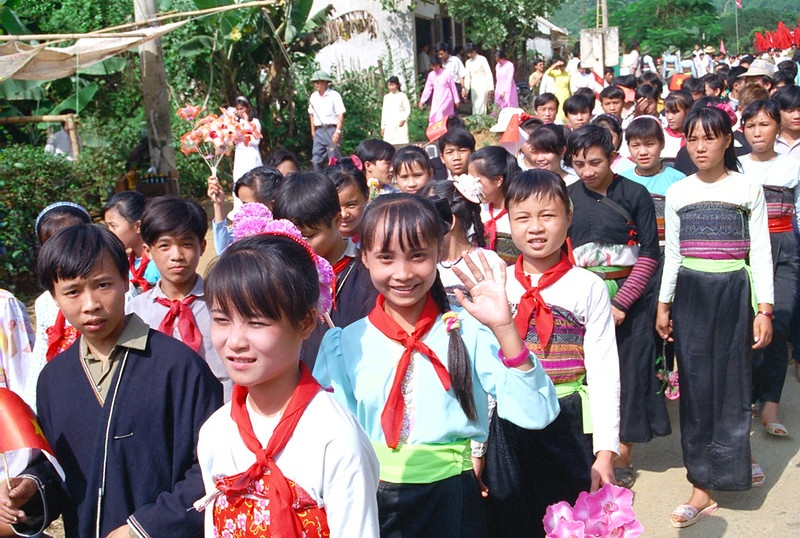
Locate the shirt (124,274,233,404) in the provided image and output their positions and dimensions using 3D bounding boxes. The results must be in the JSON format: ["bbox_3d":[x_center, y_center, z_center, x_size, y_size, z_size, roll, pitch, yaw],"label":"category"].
[{"bbox_3d":[-1.181,0.401,3.882,0.651,0.746,0.388,-11,-4,-6],"label":"shirt"}]

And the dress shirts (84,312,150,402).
[{"bbox_3d":[-1.450,0.469,3.685,0.401,0.439,0.241,-7,-8,9],"label":"dress shirts"}]

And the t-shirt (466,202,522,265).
[{"bbox_3d":[0.798,-0.265,5.760,0.357,0.306,0.453,1,3,5],"label":"t-shirt"}]

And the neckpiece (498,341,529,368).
[{"bbox_3d":[0.523,0.412,3.419,0.189,0.115,0.104,0,7,40],"label":"neckpiece"}]

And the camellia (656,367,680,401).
[{"bbox_3d":[2.045,0.879,5.458,0.119,0.231,0.242,0,-12,-15],"label":"camellia"}]

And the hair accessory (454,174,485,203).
[{"bbox_3d":[0.512,-0.612,5.307,0.219,0.104,0.233,35,26,-26],"label":"hair accessory"}]

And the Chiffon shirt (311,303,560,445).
[{"bbox_3d":[0.158,0.543,3.535,0.853,0.458,0.251,-3,3,13],"label":"Chiffon shirt"}]

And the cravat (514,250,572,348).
[{"bbox_3d":[0.847,0.185,4.432,0.321,0.619,0.341,2,-6,-33],"label":"cravat"}]

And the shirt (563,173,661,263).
[{"bbox_3d":[1.642,-0.396,5.736,0.486,0.759,0.911,-7,11,-42],"label":"shirt"}]

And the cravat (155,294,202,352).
[{"bbox_3d":[-1.334,0.340,4.373,0.310,0.499,0.087,-6,-21,-10],"label":"cravat"}]

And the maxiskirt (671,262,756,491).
[{"bbox_3d":[2.235,0.777,5.116,0.530,1.565,0.308,-2,6,25],"label":"maxiskirt"}]

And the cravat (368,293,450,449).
[{"bbox_3d":[0.052,0.500,3.603,0.365,0.730,0.264,-5,5,-5],"label":"cravat"}]

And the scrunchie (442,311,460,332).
[{"bbox_3d":[0.254,0.263,3.566,0.086,0.096,0.110,-4,5,3],"label":"scrunchie"}]
